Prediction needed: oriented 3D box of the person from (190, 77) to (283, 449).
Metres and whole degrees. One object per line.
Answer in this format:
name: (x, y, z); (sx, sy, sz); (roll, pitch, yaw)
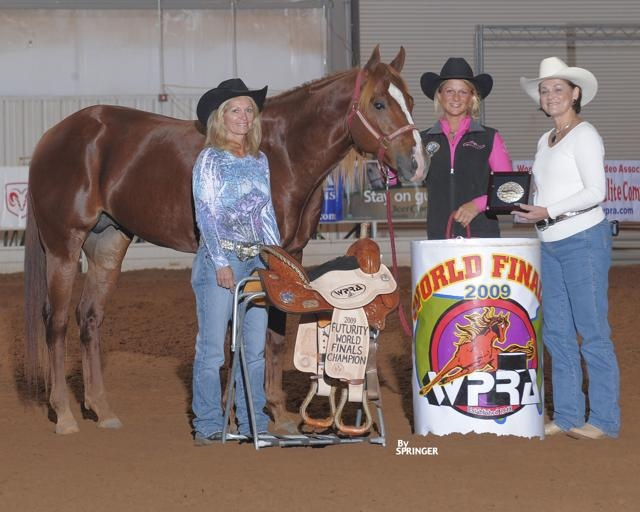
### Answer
person: (-0.759, 0.037, 10.016); (0.779, 3.203, 0.635); (-1, 6, -8)

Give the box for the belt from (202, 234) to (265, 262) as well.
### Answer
belt: (-0.754, -0.074, 9.914); (0.542, 0.225, 0.247); (-3, 7, -20)

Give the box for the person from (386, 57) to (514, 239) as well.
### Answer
person: (1.305, -1.004, 10.432); (0.788, 1.662, 0.746); (0, 6, 5)

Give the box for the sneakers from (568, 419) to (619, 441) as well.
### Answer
sneakers: (2.434, 1.555, 10.189); (0.407, 0.188, 0.154); (8, -7, 3)

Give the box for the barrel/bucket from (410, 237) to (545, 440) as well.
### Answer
barrel/bucket: (1.447, 0.694, 11.025); (1.444, 2.628, 1.580); (0, 0, 0)

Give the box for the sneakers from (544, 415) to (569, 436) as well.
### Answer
sneakers: (2.102, 1.549, 10.237); (0.250, 0.121, 0.094); (3, -4, -8)

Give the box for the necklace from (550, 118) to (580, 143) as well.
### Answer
necklace: (2.136, -1.125, 10.173); (0.051, 0.226, 0.156); (5, 3, -43)
